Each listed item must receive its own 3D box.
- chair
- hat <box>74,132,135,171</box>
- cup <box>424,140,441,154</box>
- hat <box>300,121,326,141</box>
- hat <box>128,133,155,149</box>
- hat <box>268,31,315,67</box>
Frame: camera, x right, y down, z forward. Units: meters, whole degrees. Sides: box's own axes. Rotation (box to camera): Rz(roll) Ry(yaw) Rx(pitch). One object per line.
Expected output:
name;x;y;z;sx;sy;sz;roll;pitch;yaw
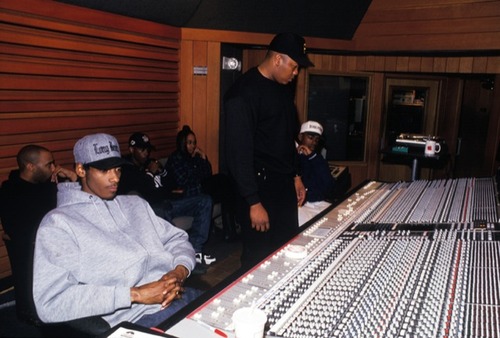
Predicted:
chair;-0.845;0.374;2.303;1.051;1.002;1.201;-1;-1;36
hat;-0.907;-0.112;2.121;0.314;0.158;0.217;6;9;32
cup;2.323;-0.286;4.357;0.233;0.166;0.148;-2;11;5
hat;0.663;-0.454;3.895;0.200;0.125;0.254;8;6;-12
hat;-1.337;-0.349;4.169;0.253;0.131;0.176;2;12;-17
hat;0.278;-0.843;2.385;0.361;0.175;0.246;15;27;6
